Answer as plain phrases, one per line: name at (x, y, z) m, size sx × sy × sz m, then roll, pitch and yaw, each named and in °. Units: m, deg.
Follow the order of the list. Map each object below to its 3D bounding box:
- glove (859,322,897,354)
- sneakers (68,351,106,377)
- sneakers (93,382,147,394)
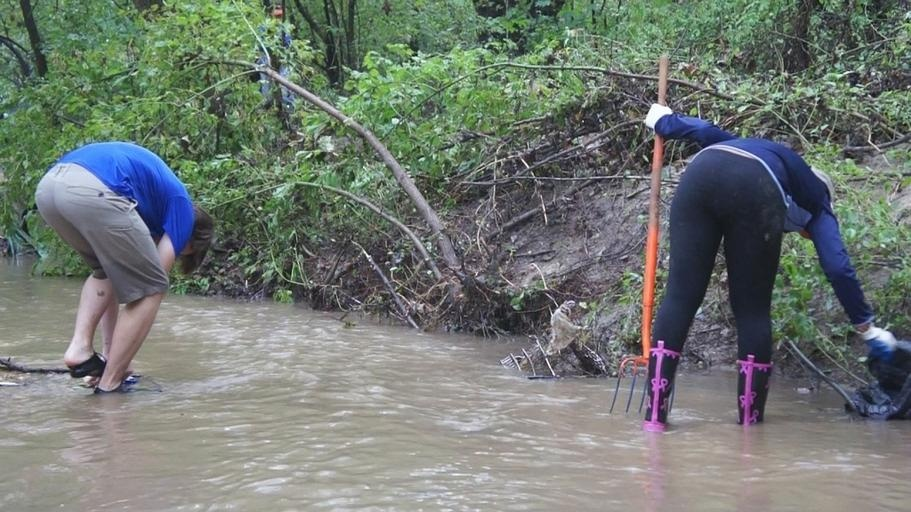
glove at (4.403, 0.897, 9.294) m, size 0.381 × 0.281 × 0.165 m, roll 34°, pitch 27°, yaw -5°
sneakers at (-3.964, 1.189, 9.711) m, size 0.429 × 0.171 × 0.206 m, roll -6°, pitch 10°, yaw -41°
sneakers at (-3.699, 1.459, 9.715) m, size 0.454 × 0.114 × 0.167 m, roll -3°, pitch 3°, yaw -22°
